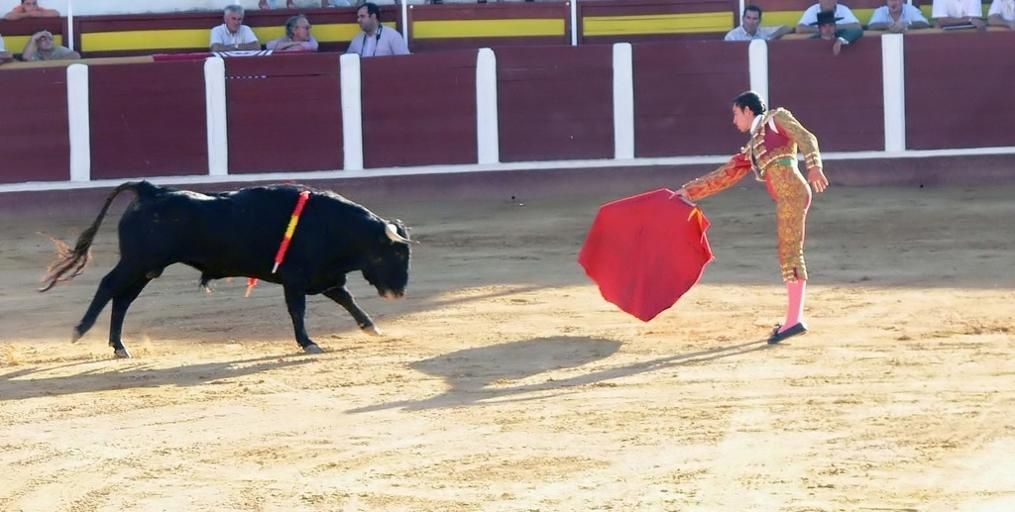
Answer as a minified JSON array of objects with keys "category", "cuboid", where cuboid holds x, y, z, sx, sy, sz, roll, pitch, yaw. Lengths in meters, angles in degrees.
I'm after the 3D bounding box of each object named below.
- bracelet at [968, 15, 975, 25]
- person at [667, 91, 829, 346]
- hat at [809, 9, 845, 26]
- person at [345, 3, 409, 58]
[{"category":"bracelet","cuboid":[5.520,-2.839,17.467,0.119,0.075,0.027,6,-8,13]},{"category":"person","cuboid":[2.292,-0.378,13.070,0.629,2.159,1.037,-13,18,-38]},{"category":"hat","cuboid":[3.808,-2.863,17.489,0.302,0.191,0.209,1,13,9]},{"category":"person","cuboid":[-1.584,-2.728,17.575,0.909,0.594,0.451,1,18,28]}]
